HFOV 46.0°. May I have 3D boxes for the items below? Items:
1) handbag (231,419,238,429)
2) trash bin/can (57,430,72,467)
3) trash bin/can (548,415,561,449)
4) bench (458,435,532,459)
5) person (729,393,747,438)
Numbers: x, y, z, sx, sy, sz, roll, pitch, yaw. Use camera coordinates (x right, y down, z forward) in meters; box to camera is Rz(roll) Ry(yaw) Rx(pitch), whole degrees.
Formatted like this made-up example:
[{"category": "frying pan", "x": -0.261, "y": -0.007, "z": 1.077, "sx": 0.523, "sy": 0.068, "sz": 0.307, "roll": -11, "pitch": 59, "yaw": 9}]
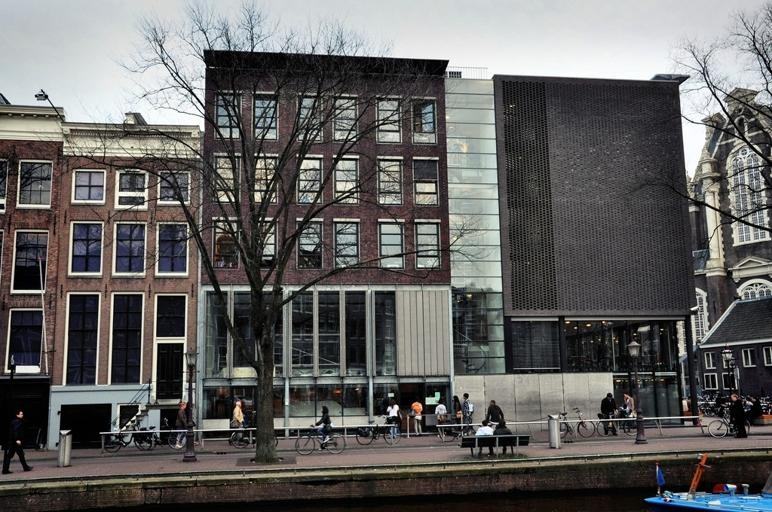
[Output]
[{"category": "handbag", "x": -9.334, "y": 10.303, "z": 55.722, "sx": 0.484, "sy": 0.460, "sz": 0.513, "roll": 8, "pitch": -13, "yaw": -28}, {"category": "trash bin/can", "x": -16.571, "y": 9.940, "z": 46.813, "sx": 0.621, "sy": 1.802, "sz": 0.821, "roll": 0, "pitch": -12, "yaw": -19}, {"category": "trash bin/can", "x": 9.070, "y": 9.585, "z": 49.386, "sx": 0.579, "sy": 1.727, "sz": 1.393, "roll": -4, "pitch": -11, "yaw": 5}, {"category": "bench", "x": 5.646, "y": 9.940, "z": 47.760, "sx": 3.434, "sy": 1.055, "sz": 2.893, "roll": -4, "pitch": -11, "yaw": 3}, {"category": "person", "x": 20.017, "y": 9.149, "z": 51.883, "sx": 0.710, "sy": 2.391, "sz": 1.107, "roll": -9, "pitch": -12, "yaw": 27}]
